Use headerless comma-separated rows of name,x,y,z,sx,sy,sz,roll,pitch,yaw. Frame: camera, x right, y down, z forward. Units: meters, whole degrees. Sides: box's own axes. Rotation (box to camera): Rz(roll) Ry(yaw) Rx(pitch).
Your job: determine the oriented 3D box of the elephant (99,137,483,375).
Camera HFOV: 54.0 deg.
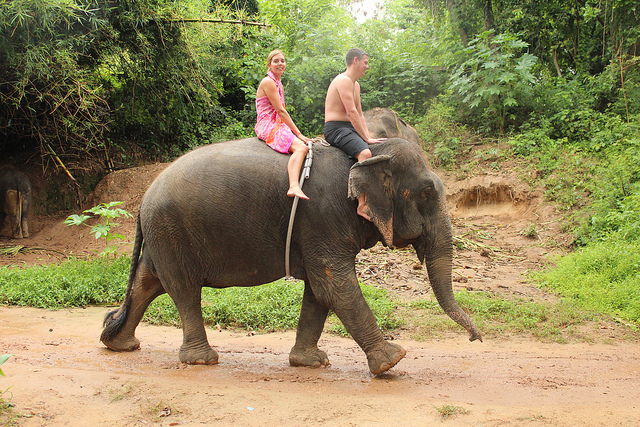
elephant,-0.561,0.720,10.434,6.426,3.760,2.858,0,8,2
